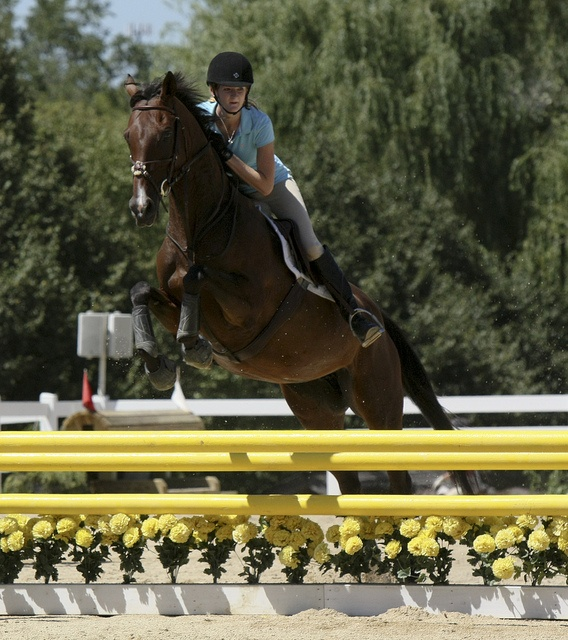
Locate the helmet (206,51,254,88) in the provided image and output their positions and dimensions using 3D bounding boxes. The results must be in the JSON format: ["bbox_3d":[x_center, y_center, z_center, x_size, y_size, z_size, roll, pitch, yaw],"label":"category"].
[{"bbox_3d":[-0.320,-1.472,8.101,0.264,0.211,0.160,-2,7,-5],"label":"helmet"}]

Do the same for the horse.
[{"bbox_3d":[0.132,0.057,8.781,0.814,2.084,3.211,-16,-29,37],"label":"horse"}]

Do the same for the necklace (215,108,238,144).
[{"bbox_3d":[-0.342,-1.158,8.153,0.150,0.199,0.049,-1,9,-2],"label":"necklace"}]

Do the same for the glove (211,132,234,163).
[{"bbox_3d":[-0.368,-1.022,8.128,0.126,0.182,0.073,-7,8,-36],"label":"glove"}]
